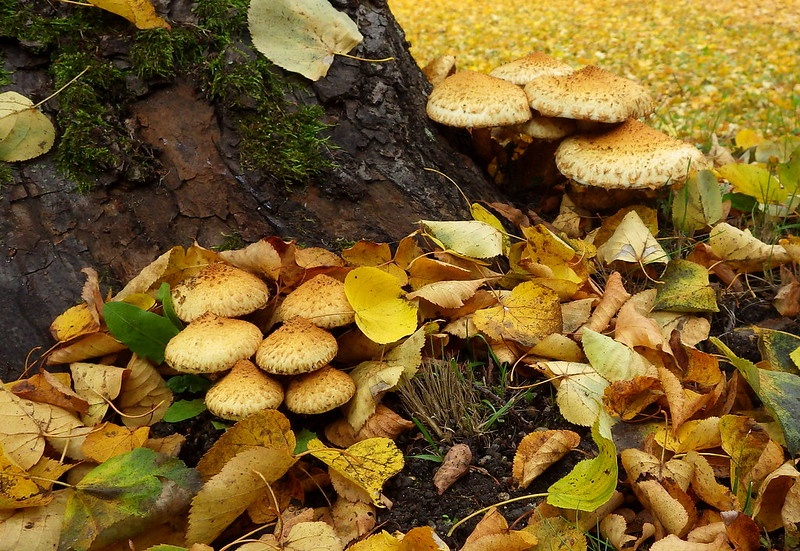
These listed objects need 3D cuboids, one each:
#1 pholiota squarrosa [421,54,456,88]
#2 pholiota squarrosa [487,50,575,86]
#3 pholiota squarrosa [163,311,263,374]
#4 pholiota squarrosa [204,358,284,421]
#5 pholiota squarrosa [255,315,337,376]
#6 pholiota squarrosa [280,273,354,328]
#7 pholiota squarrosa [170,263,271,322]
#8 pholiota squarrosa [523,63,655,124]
[{"bbox_3d":[0.244,-1.145,4.119,0.195,0.059,0.177,-42,29,-8],"label":"pholiota squarrosa"},{"bbox_3d":[0.702,-1.067,3.867,0.270,0.102,0.266,-4,10,-26],"label":"pholiota squarrosa"},{"bbox_3d":[-0.780,0.284,3.053,0.285,0.138,0.285,-11,18,-5],"label":"pholiota squarrosa"},{"bbox_3d":[-0.640,0.470,3.031,0.261,0.164,0.262,1,10,22],"label":"pholiota squarrosa"},{"bbox_3d":[-0.436,0.261,3.142,0.323,0.155,0.317,-14,25,-21],"label":"pholiota squarrosa"},{"bbox_3d":[-0.349,0.115,3.183,0.234,0.122,0.234,3,7,19],"label":"pholiota squarrosa"},{"bbox_3d":[-0.780,0.073,3.193,0.284,0.132,0.289,19,30,36],"label":"pholiota squarrosa"},{"bbox_3d":[0.951,-0.869,3.687,0.640,0.190,0.286,10,56,-10],"label":"pholiota squarrosa"}]
